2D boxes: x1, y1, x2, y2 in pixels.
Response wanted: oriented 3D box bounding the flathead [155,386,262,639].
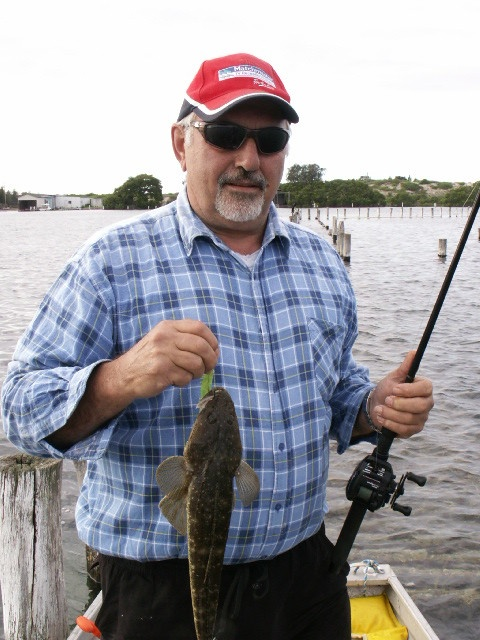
[{"bbox_3d":[-0.131,0.670,2.289,0.377,0.789,0.250,6,2,-6],"label":"flathead"}]
